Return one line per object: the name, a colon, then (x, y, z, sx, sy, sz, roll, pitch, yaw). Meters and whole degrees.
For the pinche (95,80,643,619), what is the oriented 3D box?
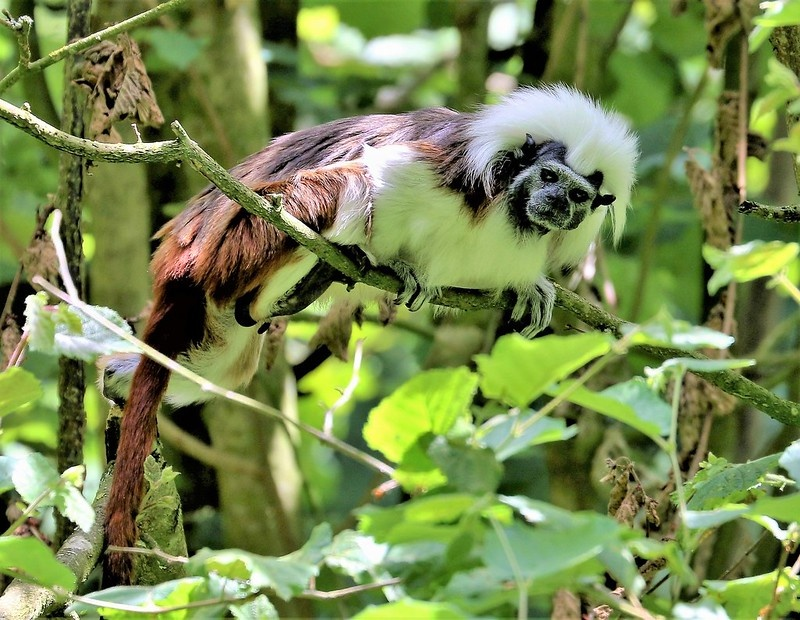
pinche: (-0.279, -0.169, 3.858, 2.177, 0.878, 0.701, -8, -13, 16)
